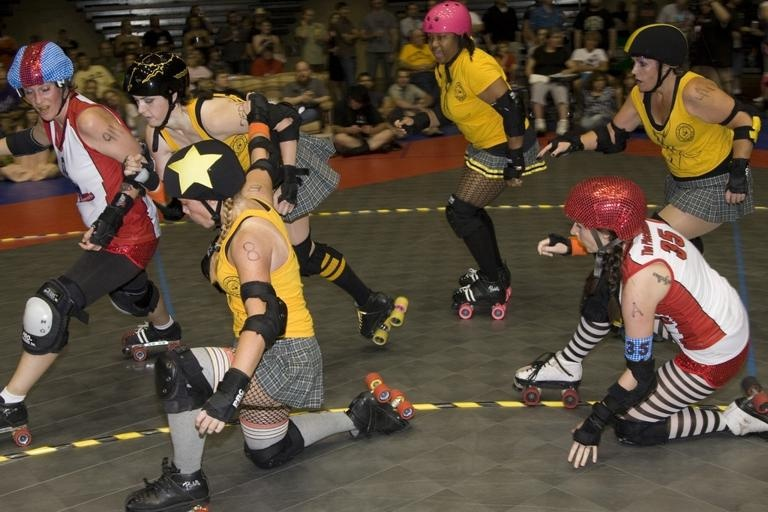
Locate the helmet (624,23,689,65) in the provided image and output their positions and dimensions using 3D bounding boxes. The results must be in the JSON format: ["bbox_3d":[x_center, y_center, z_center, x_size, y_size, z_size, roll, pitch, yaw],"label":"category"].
[{"bbox_3d":[1.765,-1.388,4.070,0.488,0.228,0.274,-8,18,-4],"label":"helmet"}]

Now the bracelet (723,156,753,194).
[{"bbox_3d":[2.359,-0.541,4.103,0.237,0.200,0.082,-1,2,0],"label":"bracelet"}]

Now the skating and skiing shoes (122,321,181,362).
[{"bbox_3d":[-1.694,0.616,4.662,0.544,0.230,0.269,-15,4,-6],"label":"skating and skiing shoes"}]

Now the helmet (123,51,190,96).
[{"bbox_3d":[-1.320,-1.060,3.587,0.445,0.231,0.299,1,13,-34],"label":"helmet"}]

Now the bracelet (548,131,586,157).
[{"bbox_3d":[1.453,-0.849,4.778,0.321,0.146,0.126,-17,-40,29],"label":"bracelet"}]

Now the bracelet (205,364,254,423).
[{"bbox_3d":[-0.656,0.623,2.780,0.201,0.263,0.111,33,-11,13],"label":"bracelet"}]

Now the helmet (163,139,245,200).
[{"bbox_3d":[-0.857,-0.406,2.917,0.350,0.276,0.270,-10,21,-21],"label":"helmet"}]

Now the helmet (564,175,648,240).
[{"bbox_3d":[1.181,-0.282,3.270,0.475,0.285,0.337,27,18,15],"label":"helmet"}]

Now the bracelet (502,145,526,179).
[{"bbox_3d":[1.048,-0.749,4.891,0.242,0.222,0.128,-1,2,21],"label":"bracelet"}]

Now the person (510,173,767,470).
[{"bbox_3d":[1.486,0.318,3.352,1.147,1.534,0.766,-5,22,-2],"label":"person"}]
